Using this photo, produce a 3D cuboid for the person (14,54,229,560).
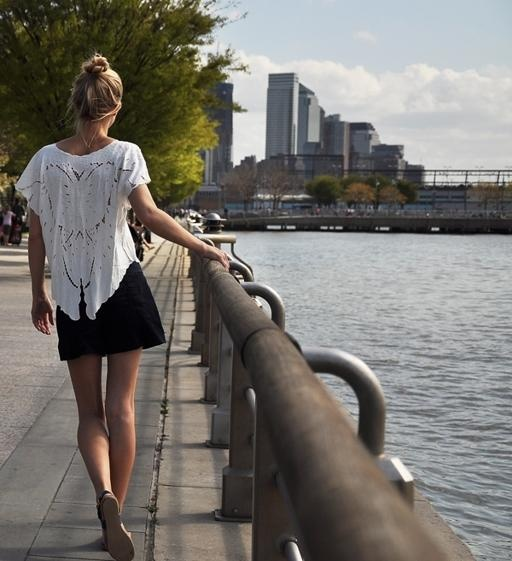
[{"bbox_3d":[-0.528,0.035,3.302,0.507,1.726,0.799,-1,5,-33],"label":"person"}]
